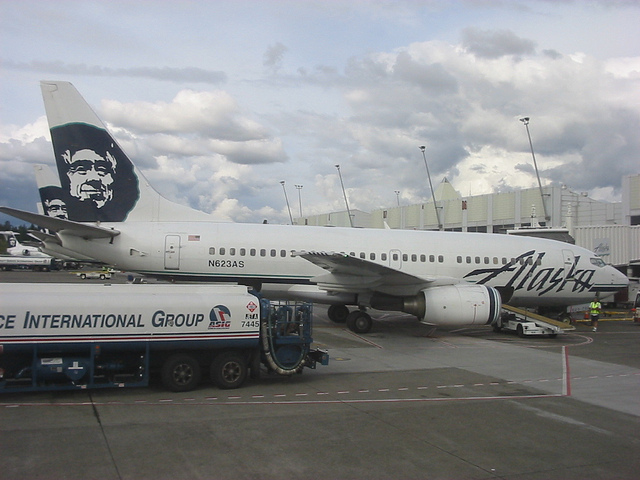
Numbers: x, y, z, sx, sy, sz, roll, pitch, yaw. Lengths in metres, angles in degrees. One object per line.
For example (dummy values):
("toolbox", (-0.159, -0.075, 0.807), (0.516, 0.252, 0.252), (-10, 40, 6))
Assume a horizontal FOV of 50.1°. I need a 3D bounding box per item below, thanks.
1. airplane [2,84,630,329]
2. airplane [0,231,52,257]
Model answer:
("airplane", (0.089, -0.567, 30.154), (21.242, 5.220, 12.951), (1, 2, -12))
("airplane", (-32.113, 0.588, 73.535), (5.890, 1.393, 5.311), (2, 4, -34))
